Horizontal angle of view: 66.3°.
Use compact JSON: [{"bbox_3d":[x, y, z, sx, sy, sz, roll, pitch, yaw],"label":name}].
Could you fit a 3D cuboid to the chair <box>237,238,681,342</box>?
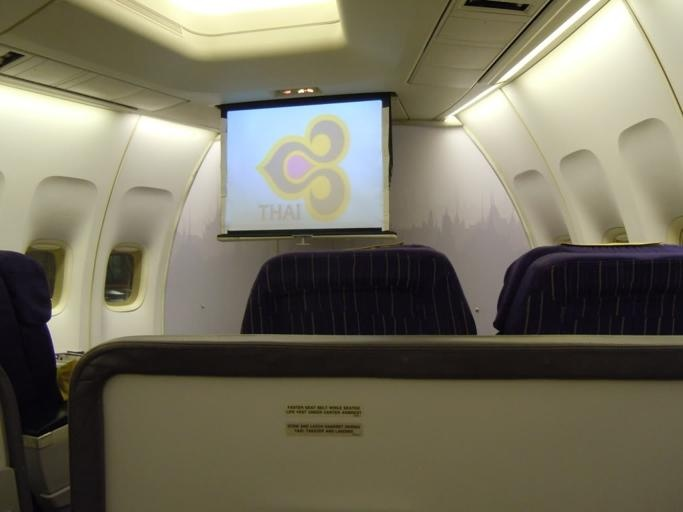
[{"bbox_3d":[0.390,0.129,1.941,1.521,0.381,0.498,-2,9,24],"label":"chair"}]
